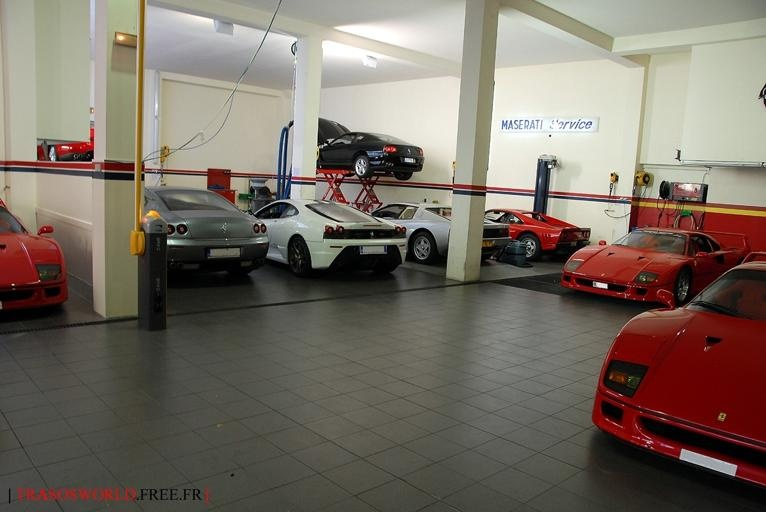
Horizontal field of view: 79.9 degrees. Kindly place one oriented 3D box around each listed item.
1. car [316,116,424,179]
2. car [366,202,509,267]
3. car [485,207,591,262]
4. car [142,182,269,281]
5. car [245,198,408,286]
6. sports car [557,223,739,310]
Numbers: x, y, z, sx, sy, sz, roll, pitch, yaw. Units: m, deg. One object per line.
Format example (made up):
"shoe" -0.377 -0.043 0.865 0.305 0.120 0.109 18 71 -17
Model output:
"car" -0.670 -3.626 15.377 3.539 1.775 1.263 14 15 40
"car" 1.154 -0.655 11.111 1.628 0.800 2.826 -8 19 -43
"car" 4.036 -0.636 12.542 2.585 0.728 1.521 26 19 38
"car" -3.017 -0.408 7.888 1.642 1.441 1.445 -6 15 -38
"car" -0.963 -0.360 8.400 1.410 0.772 2.640 -1 15 -33
"sports car" 5.129 0.094 8.309 2.853 0.749 1.527 -4 6 -39
